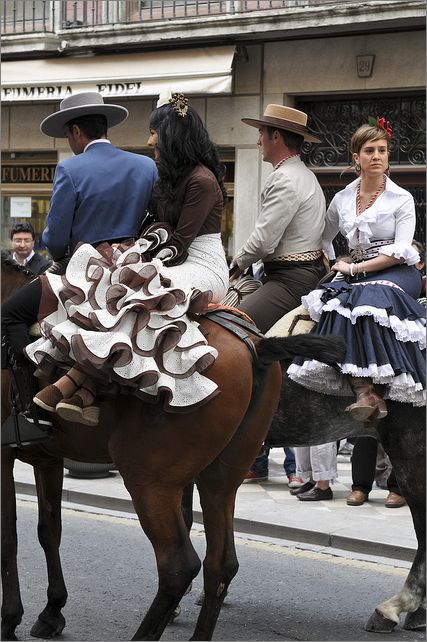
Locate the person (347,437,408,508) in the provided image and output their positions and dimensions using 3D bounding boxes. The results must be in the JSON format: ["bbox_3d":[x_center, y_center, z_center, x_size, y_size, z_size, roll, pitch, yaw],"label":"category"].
[{"bbox_3d":[1.624,1.462,6.534,0.551,0.676,0.422,5,6,11],"label":"person"}]

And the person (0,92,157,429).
[{"bbox_3d":[-0.612,-0.382,3.223,0.625,1.612,1.144,4,5,-6],"label":"person"}]

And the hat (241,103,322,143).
[{"bbox_3d":[0.486,-1.350,4.554,0.464,0.125,0.370,15,-2,-10],"label":"hat"}]

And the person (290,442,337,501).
[{"bbox_3d":[1.028,1.479,6.693,0.427,0.638,0.609,5,5,-1],"label":"person"}]

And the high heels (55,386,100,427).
[{"bbox_3d":[-0.489,0.306,2.412,0.094,0.102,0.199,-9,-26,27],"label":"high heels"}]

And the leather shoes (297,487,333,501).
[{"bbox_3d":[1.015,1.706,6.634,0.387,0.121,0.127,2,-5,-15],"label":"leather shoes"}]

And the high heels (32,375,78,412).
[{"bbox_3d":[-0.551,0.245,2.445,0.078,0.066,0.215,32,42,23],"label":"high heels"}]

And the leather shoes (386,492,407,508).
[{"bbox_3d":[1.756,1.731,6.442,0.190,0.121,0.228,5,5,16],"label":"leather shoes"}]

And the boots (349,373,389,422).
[{"bbox_3d":[0.760,0.417,3.320,0.194,0.238,0.326,5,5,11],"label":"boots"}]

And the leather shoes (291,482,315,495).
[{"bbox_3d":[0.923,1.717,6.870,0.279,0.089,0.097,0,-3,-42],"label":"leather shoes"}]
